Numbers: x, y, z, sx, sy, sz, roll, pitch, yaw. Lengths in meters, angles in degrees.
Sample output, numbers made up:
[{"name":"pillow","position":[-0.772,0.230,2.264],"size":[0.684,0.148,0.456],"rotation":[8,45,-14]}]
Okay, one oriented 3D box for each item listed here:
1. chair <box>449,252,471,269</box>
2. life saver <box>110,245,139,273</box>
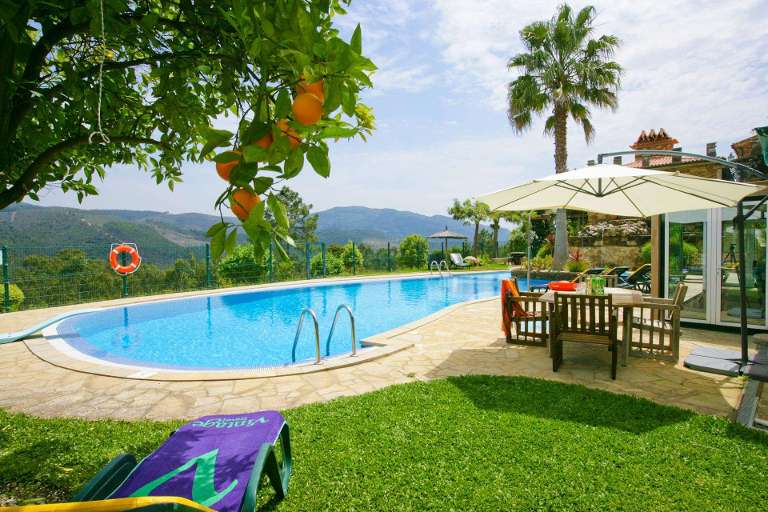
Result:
[{"name":"chair","position":[4.267,0.254,30.107],"size":[0.847,0.770,1.219],"rotation":[-1,0,-24]},{"name":"life saver","position":[-8.421,0.123,16.398],"size":[0.920,1.009,0.541],"rotation":[-4,8,-36]}]
